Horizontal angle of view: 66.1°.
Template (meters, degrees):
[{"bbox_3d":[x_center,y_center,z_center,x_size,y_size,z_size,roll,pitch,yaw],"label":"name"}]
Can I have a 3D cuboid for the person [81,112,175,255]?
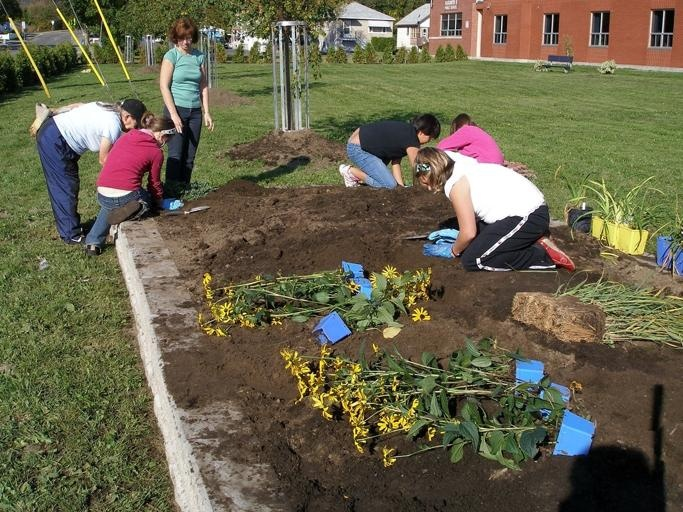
[{"bbox_3d":[-2.383,-0.804,5.822,1.150,1.400,0.538,-17,26,-27],"label":"person"}]

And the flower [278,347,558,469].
[{"bbox_3d":[0.544,0.892,3.139,1.298,0.405,0.767,-7,30,-4],"label":"flower"}]

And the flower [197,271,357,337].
[{"bbox_3d":[-0.505,0.342,4.030,1.141,0.386,0.521,-2,17,-2],"label":"flower"}]

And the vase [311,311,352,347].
[{"bbox_3d":[-0.070,0.514,3.760,0.154,0.227,0.228,-26,12,45],"label":"vase"}]

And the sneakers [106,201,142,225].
[{"bbox_3d":[-2.354,-0.448,5.749,0.379,0.147,0.176,-27,64,-15],"label":"sneakers"}]

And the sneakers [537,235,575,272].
[{"bbox_3d":[1.801,-0.005,4.401,0.398,0.170,0.149,49,18,14],"label":"sneakers"}]

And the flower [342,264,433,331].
[{"bbox_3d":[0.353,0.301,3.894,0.488,0.224,0.486,31,67,8],"label":"flower"}]

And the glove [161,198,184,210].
[{"bbox_3d":[-2.050,-0.612,6.310,0.188,0.145,0.080,-1,68,-22],"label":"glove"}]

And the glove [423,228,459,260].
[{"bbox_3d":[0.881,-0.121,4.704,0.274,0.097,0.280,11,35,21],"label":"glove"}]

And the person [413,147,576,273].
[{"bbox_3d":[1.290,-0.339,4.464,1.262,0.778,0.918,19,27,18],"label":"person"}]

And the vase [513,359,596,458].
[{"bbox_3d":[1.282,0.879,3.133,0.293,0.354,0.525,-11,24,-14],"label":"vase"}]

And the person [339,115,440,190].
[{"bbox_3d":[0.543,-1.576,6.901,1.487,1.270,0.766,-2,54,1],"label":"person"}]

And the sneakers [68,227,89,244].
[{"bbox_3d":[-3.043,-0.228,6.013,0.069,0.150,0.214,28,42,31],"label":"sneakers"}]
